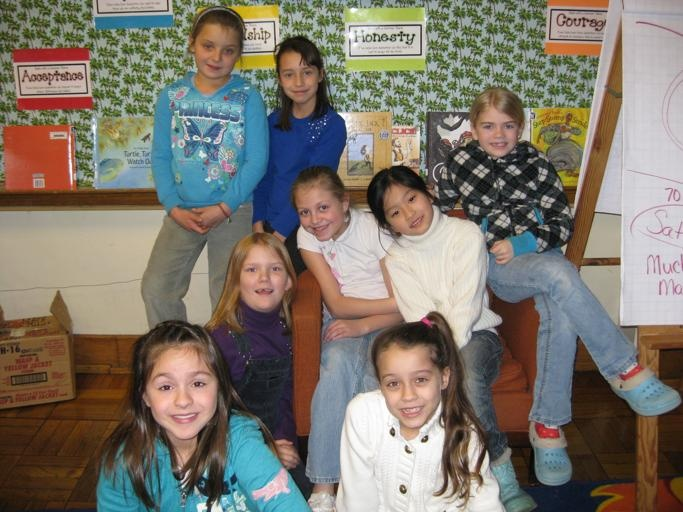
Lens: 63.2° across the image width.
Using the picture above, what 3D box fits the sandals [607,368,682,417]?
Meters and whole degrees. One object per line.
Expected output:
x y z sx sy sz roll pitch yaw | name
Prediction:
1.162 0.524 2.174 0.135 0.104 0.261 -29 17 -18 | sandals

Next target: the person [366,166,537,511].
0.292 0.219 2.367 0.563 1.518 0.640 -5 -28 2 | person

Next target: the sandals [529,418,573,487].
0.825 0.789 2.209 0.122 0.113 0.283 -6 51 10 | sandals

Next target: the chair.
0.096 0.299 2.571 0.914 1.247 1.074 -1 11 -2 | chair

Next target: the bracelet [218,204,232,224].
-0.554 -0.204 2.659 0.018 0.061 0.065 -32 -8 -7 | bracelet
